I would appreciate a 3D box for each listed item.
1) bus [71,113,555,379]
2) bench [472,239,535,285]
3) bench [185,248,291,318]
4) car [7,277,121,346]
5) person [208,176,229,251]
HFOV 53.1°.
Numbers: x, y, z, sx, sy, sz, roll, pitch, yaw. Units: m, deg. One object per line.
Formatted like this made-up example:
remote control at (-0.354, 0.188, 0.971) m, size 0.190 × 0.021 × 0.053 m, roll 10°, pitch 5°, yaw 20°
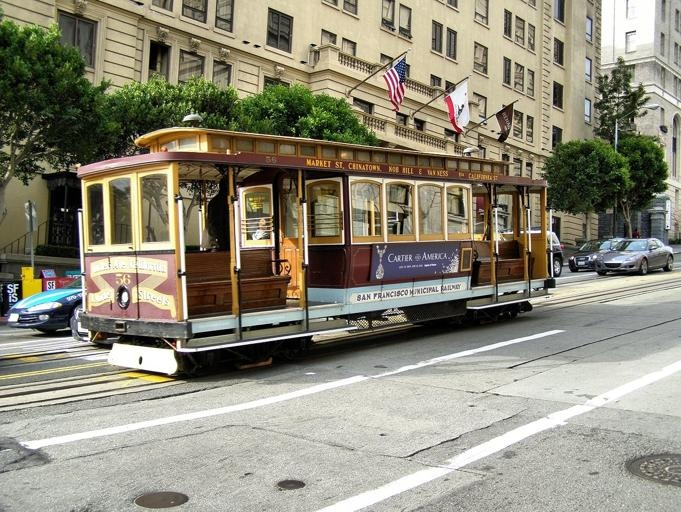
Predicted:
bus at (0.460, -0.430, 15.176) m, size 11.755 × 4.449 × 3.784 m, roll -6°, pitch 10°, yaw -38°
bench at (3.888, 0.072, 16.994) m, size 0.578 × 0.863 × 2.501 m, roll 15°, pitch 7°, yaw 37°
bench at (-1.883, 0.431, 11.848) m, size 1.981 × 0.934 × 0.638 m, roll -3°, pitch 10°, yaw -39°
car at (-6.333, 1.394, 16.447) m, size 1.562 × 0.892 × 2.913 m, roll -4°, pitch -8°, yaw 35°
person at (-2.222, -0.749, 12.587) m, size 0.298 × 1.276 × 0.572 m, roll -7°, pitch 11°, yaw -41°
